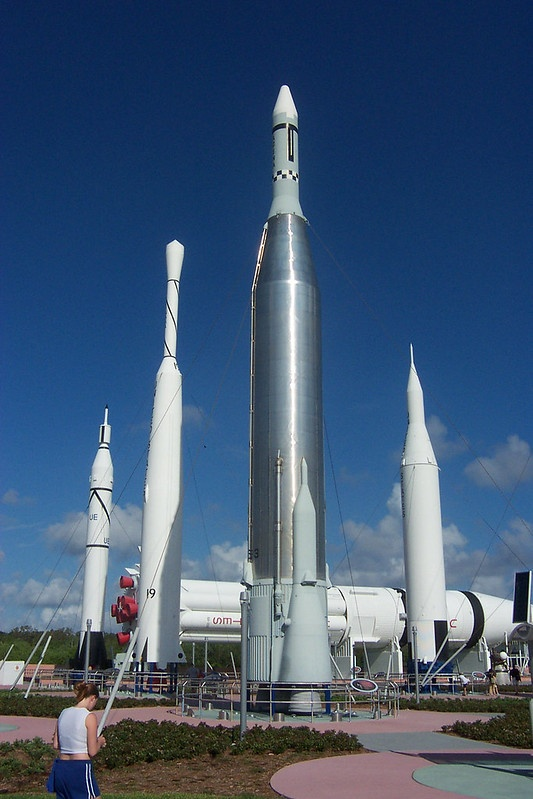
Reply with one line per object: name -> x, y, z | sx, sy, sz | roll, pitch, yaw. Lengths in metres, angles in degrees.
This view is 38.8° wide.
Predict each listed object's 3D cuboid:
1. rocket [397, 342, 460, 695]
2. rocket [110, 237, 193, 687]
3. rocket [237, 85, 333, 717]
rocket -> 8.330, 6.078, 39.660 | 1.962, 16.648, 2.032 | 0, -20, 0
rocket -> -4.868, 4.780, 33.946 | 3.460, 26.773, 4.601 | 4, -10, -25
rocket -> 0.724, -1.790, 26.000 | 3.055, 23.628, 2.307 | -12, -21, 36
